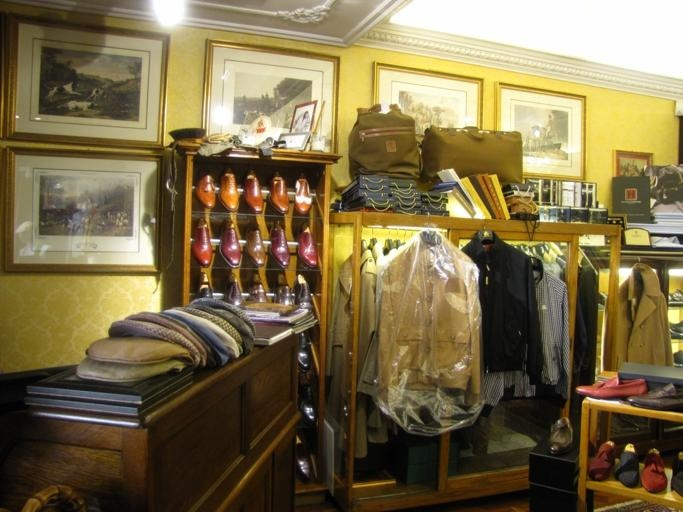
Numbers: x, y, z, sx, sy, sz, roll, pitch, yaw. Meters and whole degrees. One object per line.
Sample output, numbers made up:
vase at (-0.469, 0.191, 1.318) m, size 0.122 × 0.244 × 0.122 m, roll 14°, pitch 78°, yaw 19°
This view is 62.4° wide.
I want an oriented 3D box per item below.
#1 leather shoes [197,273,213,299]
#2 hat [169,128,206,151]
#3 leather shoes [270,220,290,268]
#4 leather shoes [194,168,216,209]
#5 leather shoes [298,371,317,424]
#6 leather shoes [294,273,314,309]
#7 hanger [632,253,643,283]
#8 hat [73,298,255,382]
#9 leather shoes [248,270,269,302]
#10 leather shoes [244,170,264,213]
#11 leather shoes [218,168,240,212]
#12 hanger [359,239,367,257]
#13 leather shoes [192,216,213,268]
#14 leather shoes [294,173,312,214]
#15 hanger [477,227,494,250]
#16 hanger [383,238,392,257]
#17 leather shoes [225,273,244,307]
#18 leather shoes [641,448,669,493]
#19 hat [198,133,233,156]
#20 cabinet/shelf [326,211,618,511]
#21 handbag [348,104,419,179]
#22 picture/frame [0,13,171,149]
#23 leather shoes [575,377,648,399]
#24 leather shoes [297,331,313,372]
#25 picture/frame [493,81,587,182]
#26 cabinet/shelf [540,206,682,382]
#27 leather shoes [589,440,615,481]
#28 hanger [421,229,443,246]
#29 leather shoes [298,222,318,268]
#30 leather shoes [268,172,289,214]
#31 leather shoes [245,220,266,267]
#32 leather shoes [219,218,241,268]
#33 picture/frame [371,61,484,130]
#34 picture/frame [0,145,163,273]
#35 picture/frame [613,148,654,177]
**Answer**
leather shoes at (-0.884, 0.197, 3.659) m, size 0.073 × 0.230 × 0.089 m, roll 2°, pitch -19°, yaw -33°
hat at (-0.967, -0.745, 3.517) m, size 0.160 × 0.057 × 0.166 m, roll -1°, pitch -1°, yaw 5°
leather shoes at (-0.435, -0.079, 3.859) m, size 0.101 × 0.317 × 0.110 m, roll -5°, pitch -21°, yaw -17°
leather shoes at (-0.887, -0.428, 3.674) m, size 0.091 × 0.264 × 0.106 m, roll -9°, pitch -10°, yaw -21°
leather shoes at (-0.228, 0.956, 3.834) m, size 0.109 × 0.348 × 0.142 m, roll -4°, pitch 6°, yaw 2°
leather shoes at (-0.259, 0.242, 3.846) m, size 0.097 × 0.291 × 0.110 m, roll 3°, pitch -27°, yaw -30°
hanger at (2.302, 0.103, 4.390) m, size 0.057 × 0.203 × 0.077 m, roll 0°, pitch 1°, yaw 18°
hat at (-0.610, 0.305, 2.054) m, size 0.294 × 0.171 × 0.422 m, roll 2°, pitch -1°, yaw 36°
leather shoes at (-0.574, 0.219, 3.857) m, size 0.089 × 0.258 × 0.105 m, roll -1°, pitch -47°, yaw -19°
leather shoes at (-0.590, -0.413, 3.837) m, size 0.096 × 0.305 × 0.112 m, roll -13°, pitch -8°, yaw -15°
leather shoes at (-0.741, -0.423, 3.716) m, size 0.095 × 0.299 × 0.103 m, roll -5°, pitch -17°, yaw -16°
hanger at (0.140, -0.055, 3.695) m, size 0.032 × 0.113 × 0.042 m, roll 0°, pitch -4°, yaw -5°
leather shoes at (-0.917, -0.090, 3.690) m, size 0.105 × 0.331 × 0.119 m, roll -1°, pitch -14°, yaw -26°
leather shoes at (-0.274, -0.427, 3.880) m, size 0.091 × 0.268 × 0.103 m, roll -5°, pitch -20°, yaw -13°
hanger at (0.968, -0.123, 3.800) m, size 0.139 × 0.165 × 0.022 m, roll -2°, pitch 10°, yaw -12°
hanger at (0.316, -0.056, 3.840) m, size 0.038 × 0.127 × 0.047 m, roll 9°, pitch 0°, yaw 10°
leather shoes at (-0.703, 0.218, 3.649) m, size 0.063 × 0.184 × 0.075 m, roll -2°, pitch -26°, yaw -22°
leather shoes at (1.671, 1.136, 3.022) m, size 0.097 × 0.098 × 0.268 m, roll -9°, pitch 20°, yaw 22°
hat at (-0.790, -0.700, 3.542) m, size 0.215 × 0.152 × 0.167 m, roll 1°, pitch 4°, yaw -13°
cabinet/shelf at (0.756, 0.717, 3.638) m, size 1.802 × 1.789 × 0.605 m, roll -1°, pitch 3°, yaw -22°
handbag at (0.285, -0.776, 3.910) m, size 0.539 × 0.544 × 0.298 m, roll -2°, pitch 8°, yaw -15°
picture/frame at (-1.772, -1.180, 3.776) m, size 0.871 × 0.697 × 0.042 m, roll 1°, pitch 3°, yaw -16°
leather shoes at (1.468, 0.698, 3.093) m, size 0.360 × 0.118 × 0.133 m, roll 0°, pitch -7°, yaw 14°
leather shoes at (-0.264, 0.646, 3.882) m, size 0.086 × 0.281 × 0.110 m, roll -2°, pitch -8°, yaw -16°
picture/frame at (1.585, -1.009, 4.594) m, size 0.866 × 0.733 × 0.041 m, roll 2°, pitch -4°, yaw -22°
cabinet/shelf at (1.940, 0.303, 4.108) m, size 1.219 × 1.214 × 0.405 m, roll 1°, pitch -3°, yaw -21°
leather shoes at (1.444, 1.129, 3.110) m, size 0.090 × 0.113 × 0.271 m, roll -4°, pitch 0°, yaw 32°
hanger at (0.577, -0.118, 3.603) m, size 0.113 × 0.095 × 0.042 m, roll -1°, pitch -19°, yaw -30°
leather shoes at (-0.252, -0.073, 3.874) m, size 0.097 × 0.303 × 0.108 m, roll -2°, pitch -44°, yaw -18°
leather shoes at (-0.442, -0.442, 3.866) m, size 0.092 × 0.289 × 0.111 m, roll -6°, pitch -27°, yaw -21°
leather shoes at (-0.582, -0.073, 3.827) m, size 0.134 × 0.284 × 0.135 m, roll 1°, pitch 4°, yaw -11°
leather shoes at (-0.759, -0.082, 3.788) m, size 0.109 × 0.341 × 0.125 m, roll -4°, pitch -18°, yaw -21°
picture/frame at (0.623, -1.228, 4.325) m, size 0.626 × 0.399 × 0.023 m, roll 1°, pitch 5°, yaw -19°
picture/frame at (-1.801, -0.316, 3.786) m, size 0.809 × 0.728 × 0.067 m, roll 1°, pitch -2°, yaw -11°
picture/frame at (2.625, -0.817, 4.989) m, size 0.474 × 0.230 × 0.164 m, roll -1°, pitch 4°, yaw -31°
